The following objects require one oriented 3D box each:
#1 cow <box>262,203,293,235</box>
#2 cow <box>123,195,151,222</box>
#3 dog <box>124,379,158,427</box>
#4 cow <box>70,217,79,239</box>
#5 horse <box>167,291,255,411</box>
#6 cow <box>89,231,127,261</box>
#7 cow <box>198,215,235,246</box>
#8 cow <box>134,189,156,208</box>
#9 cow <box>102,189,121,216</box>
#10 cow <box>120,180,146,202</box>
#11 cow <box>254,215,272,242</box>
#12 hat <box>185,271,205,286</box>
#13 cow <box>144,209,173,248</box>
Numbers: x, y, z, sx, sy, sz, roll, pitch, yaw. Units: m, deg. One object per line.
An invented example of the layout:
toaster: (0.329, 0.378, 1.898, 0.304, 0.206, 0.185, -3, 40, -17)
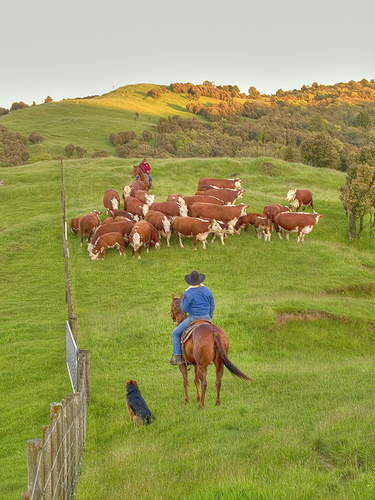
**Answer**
cow: (4.667, -1.976, 32.809, 0.667, 1.226, 2.061, 4, 18, 26)
cow: (-2.710, -2.138, 32.352, 0.621, 1.295, 2.198, -10, 28, -31)
dog: (-1.030, 3.292, 13.770, 0.304, 0.753, 1.222, 1, 18, -15)
cow: (-5.681, -1.113, 32.030, 0.458, 1.002, 1.856, -7, 5, -10)
horse: (0.458, 2.586, 14.301, 0.855, 1.978, 2.316, -8, 5, -18)
cow: (-3.662, -0.188, 28.985, 1.793, 1.149, 0.891, -12, 8, -39)
cow: (1.397, -0.897, 30.376, 0.867, 1.096, 1.746, -5, 9, -42)
cow: (-2.230, -2.746, 34.060, 0.537, 1.037, 1.737, -14, 32, -28)
cow: (-4.179, -2.740, 34.821, 0.614, 1.094, 1.996, 5, 34, -10)
cow: (-3.156, -3.520, 36.194, 0.517, 1.297, 2.275, 9, 27, 13)
cow: (3.770, -1.034, 31.407, 0.658, 1.201, 1.201, -8, 5, -17)
hat: (0.168, 0.658, 14.995, 0.410, 0.429, 0.740, -7, 5, 0)
cow: (-1.306, -1.148, 29.670, 0.653, 1.387, 2.266, -9, 30, -18)
